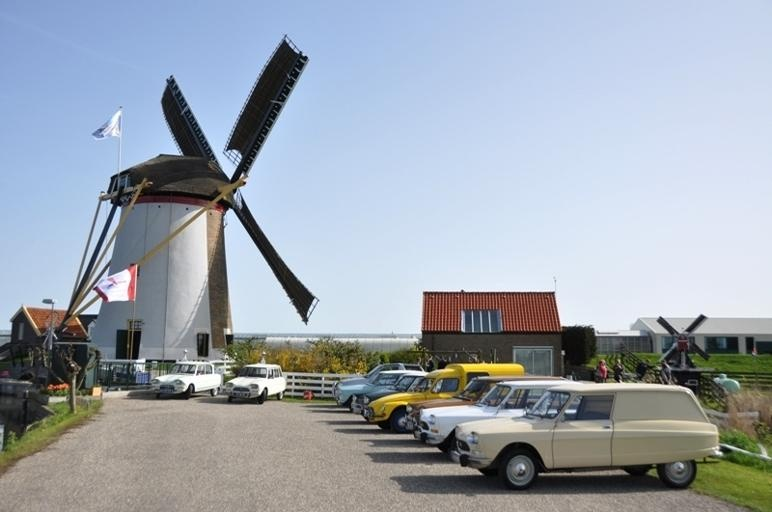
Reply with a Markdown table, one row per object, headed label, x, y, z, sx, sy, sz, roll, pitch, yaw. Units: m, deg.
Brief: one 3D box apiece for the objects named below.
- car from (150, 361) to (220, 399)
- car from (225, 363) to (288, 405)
| label | x | y | z | sx | sy | sz | roll | pitch | yaw |
| --- | --- | --- | --- | --- | --- | --- | --- | --- | --- |
| car | -11.646 | 7.328 | 30.558 | 1.777 | 2.051 | 3.396 | -6 | -15 | 25 |
| car | -7.292 | 7.160 | 28.885 | 2.138 | 2.105 | 3.014 | -4 | -14 | 18 |
